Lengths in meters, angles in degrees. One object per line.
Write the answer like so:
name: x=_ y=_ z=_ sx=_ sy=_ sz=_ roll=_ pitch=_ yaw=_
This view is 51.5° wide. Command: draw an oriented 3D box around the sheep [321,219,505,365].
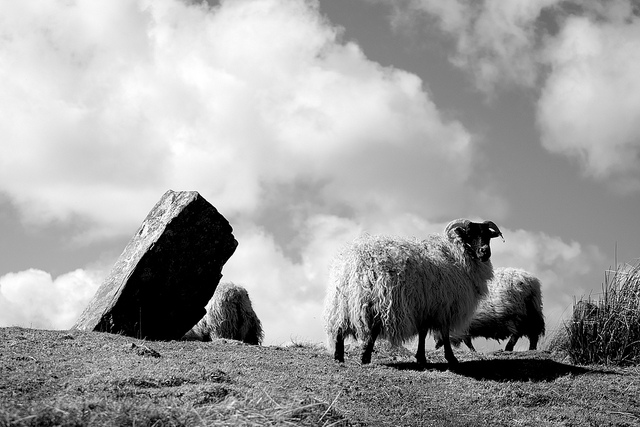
sheep: x=2.125 y=1.755 z=14.614 sx=4.025 sy=3.187 sz=2.172 roll=6 pitch=-9 yaw=-29

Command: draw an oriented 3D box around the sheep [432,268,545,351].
sheep: x=4.853 y=2.625 z=19.823 sx=1.545 sy=2.620 sz=3.526 roll=11 pitch=-3 yaw=-45

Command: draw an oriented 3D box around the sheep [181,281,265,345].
sheep: x=-2.811 y=2.987 z=19.234 sx=1.582 sy=2.169 sz=2.740 roll=-1 pitch=-19 yaw=-21
